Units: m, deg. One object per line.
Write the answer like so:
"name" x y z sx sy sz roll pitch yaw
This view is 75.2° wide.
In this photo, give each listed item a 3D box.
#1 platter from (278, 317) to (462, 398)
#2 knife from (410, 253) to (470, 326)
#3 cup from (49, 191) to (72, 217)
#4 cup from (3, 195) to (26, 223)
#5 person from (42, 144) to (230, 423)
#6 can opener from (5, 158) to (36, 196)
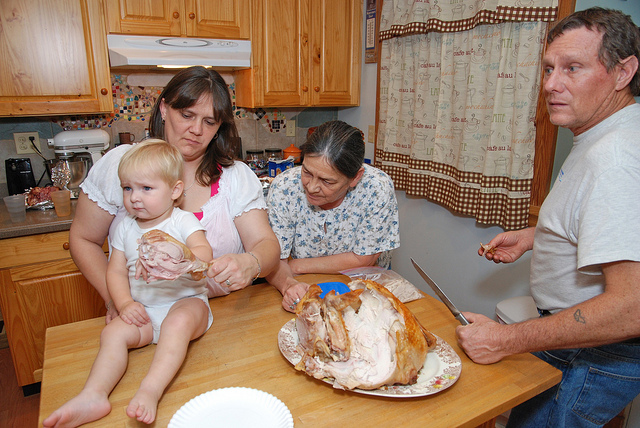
"platter" 0.191 0.371 1.456 0.465 0.339 0.340 -15 24 -41
"knife" 0.744 0.433 2.474 0.047 0.065 0.568 6 48 -59
"cup" -1.673 -0.072 2.675 0.145 0.163 0.148 0 8 0
"cup" -1.913 -0.043 2.618 0.148 0.176 0.144 0 10 0
"person" -0.380 0.182 1.557 0.499 0.934 0.882 3 20 3
"can opener" -2.159 -0.276 2.971 0.158 0.241 0.151 -1 17 8
